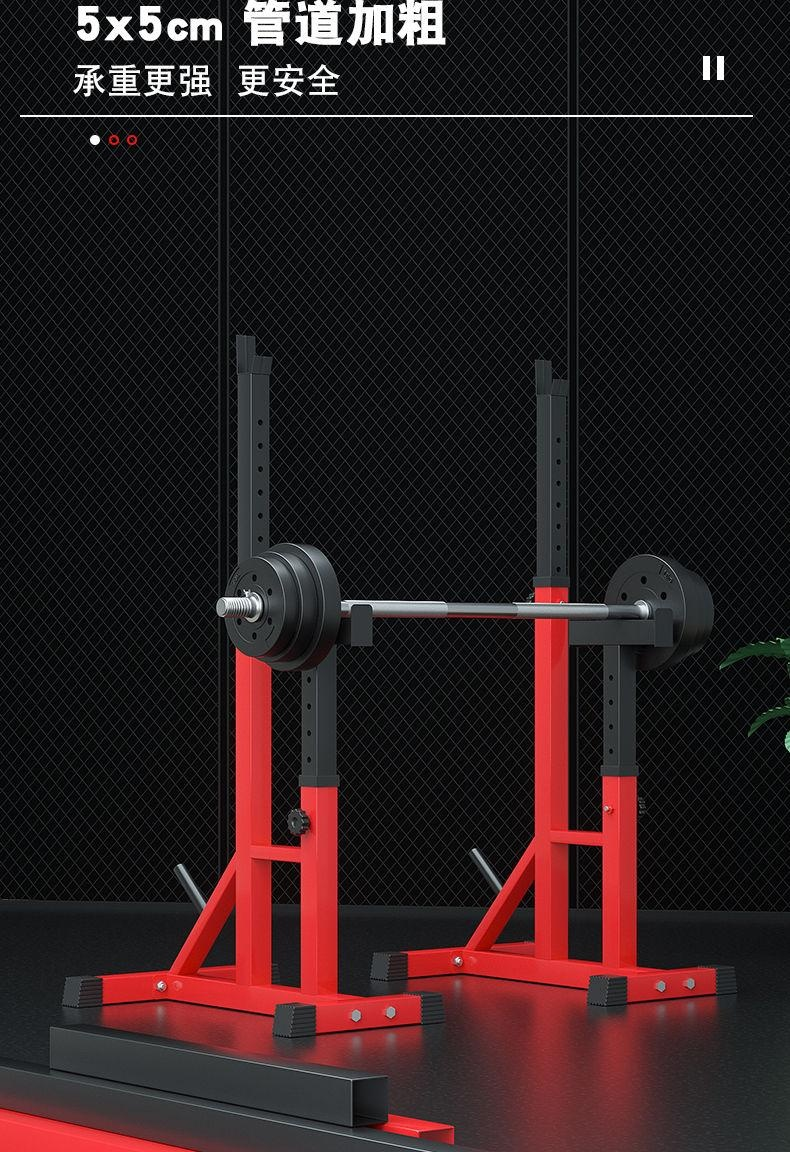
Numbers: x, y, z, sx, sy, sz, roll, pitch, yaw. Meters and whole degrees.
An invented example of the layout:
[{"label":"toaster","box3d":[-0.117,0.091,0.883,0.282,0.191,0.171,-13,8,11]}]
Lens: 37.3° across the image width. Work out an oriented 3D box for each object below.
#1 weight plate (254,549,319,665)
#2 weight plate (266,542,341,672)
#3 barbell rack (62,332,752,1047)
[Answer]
[{"label":"weight plate","box3d":[-0.233,0.063,2.590,0.132,0.279,0.206,-1,-6,-7]},{"label":"weight plate","box3d":[-0.206,0.073,2.553,0.107,0.351,0.302,0,2,-31]},{"label":"barbell rack","box3d":[0.094,0.277,3.168,1.690,1.788,1.039,5,-10,-36]}]
